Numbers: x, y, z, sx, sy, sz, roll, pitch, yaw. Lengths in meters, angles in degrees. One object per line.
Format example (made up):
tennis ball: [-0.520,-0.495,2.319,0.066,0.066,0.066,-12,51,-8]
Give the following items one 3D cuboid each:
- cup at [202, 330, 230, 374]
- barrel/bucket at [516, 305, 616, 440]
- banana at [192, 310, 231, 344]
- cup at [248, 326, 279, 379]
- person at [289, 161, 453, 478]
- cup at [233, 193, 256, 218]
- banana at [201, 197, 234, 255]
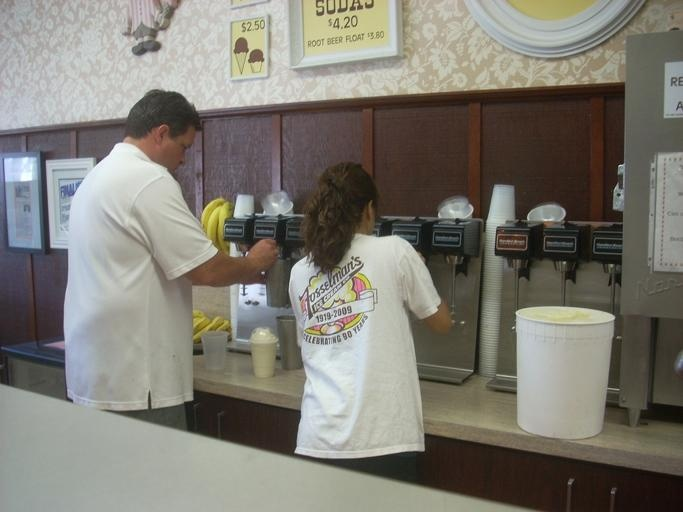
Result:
cup: [-0.539,0.407,2.542,0.123,0.176,0.141,2,0,2]
barrel/bucket: [0.701,0.364,2.033,0.325,0.406,0.352,-1,9,0]
banana: [-0.656,0.341,2.959,0.145,0.080,0.200,1,0,20]
cup: [-0.329,0.400,2.541,0.148,0.233,0.152,-1,5,0]
person: [0.094,0.154,1.836,0.503,0.870,0.313,-3,10,-7]
cup: [-0.479,-0.261,3.011,0.116,0.141,0.118,1,7,0]
banana: [-0.604,-0.175,3.031,0.175,0.326,0.098,-21,-18,24]
